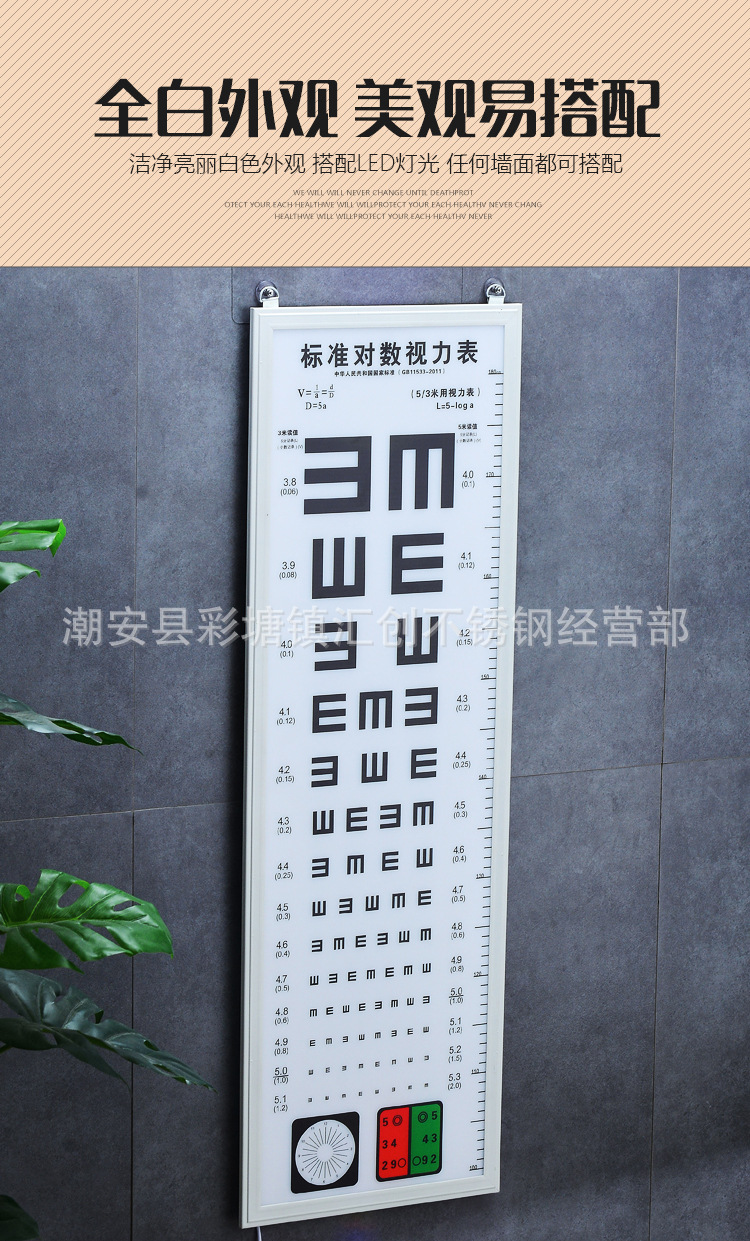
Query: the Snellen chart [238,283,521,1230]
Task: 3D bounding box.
[{"bbox_3d":[0.006,0.217,1.796,0.479,1.238,0.079,-12,15,-29],"label":"Snellen chart"}]
